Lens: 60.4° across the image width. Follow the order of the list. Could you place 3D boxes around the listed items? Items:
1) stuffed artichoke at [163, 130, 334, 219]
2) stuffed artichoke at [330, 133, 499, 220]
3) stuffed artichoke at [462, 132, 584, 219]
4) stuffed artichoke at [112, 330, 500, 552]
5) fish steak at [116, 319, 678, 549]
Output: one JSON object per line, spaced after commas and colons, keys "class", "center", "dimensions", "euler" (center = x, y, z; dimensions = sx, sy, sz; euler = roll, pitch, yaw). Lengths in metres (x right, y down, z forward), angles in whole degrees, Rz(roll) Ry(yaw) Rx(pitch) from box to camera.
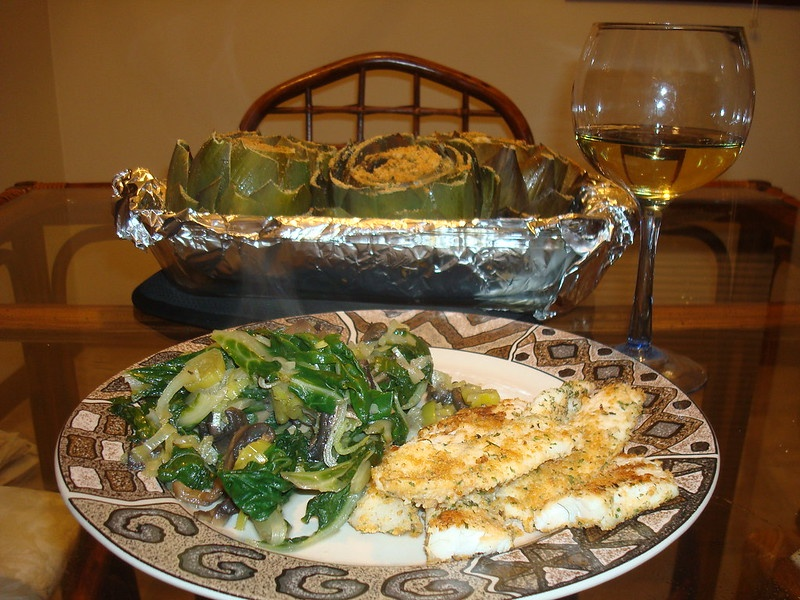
{"class": "stuffed artichoke", "center": [-0.512, -0.408, 2.498], "dimensions": [0.469, 0.338, 0.580], "euler": [8, 8, 40]}
{"class": "stuffed artichoke", "center": [0.004, -0.420, 2.340], "dimensions": [0.615, 0.291, 0.367], "euler": [-10, 13, -28]}
{"class": "stuffed artichoke", "center": [0.435, -0.390, 2.358], "dimensions": [0.322, 0.202, 0.342], "euler": [9, 12, -10]}
{"class": "stuffed artichoke", "center": [-0.225, 0.232, 1.480], "dimensions": [0.757, 0.424, 0.483], "euler": [-10, 13, -40]}
{"class": "fish steak", "center": [0.054, 0.272, 1.550], "dimensions": [1.203, 0.208, 1.020], "euler": [-3, 17, -19]}
